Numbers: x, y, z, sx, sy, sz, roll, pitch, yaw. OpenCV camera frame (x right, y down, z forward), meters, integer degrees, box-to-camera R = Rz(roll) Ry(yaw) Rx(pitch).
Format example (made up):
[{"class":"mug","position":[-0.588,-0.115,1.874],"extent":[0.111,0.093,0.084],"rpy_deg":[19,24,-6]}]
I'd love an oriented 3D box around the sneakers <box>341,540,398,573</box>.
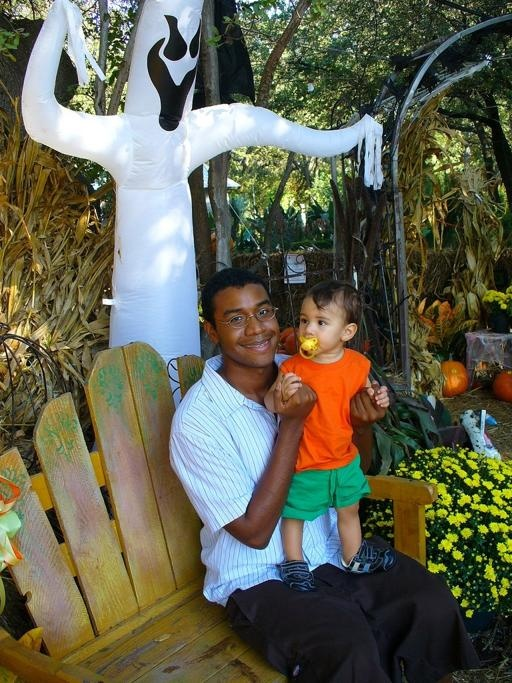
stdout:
[{"class":"sneakers","position":[0.343,0.641,1.544],"extent":[0.115,0.055,0.076],"rpy_deg":[-6,23,31]}]
